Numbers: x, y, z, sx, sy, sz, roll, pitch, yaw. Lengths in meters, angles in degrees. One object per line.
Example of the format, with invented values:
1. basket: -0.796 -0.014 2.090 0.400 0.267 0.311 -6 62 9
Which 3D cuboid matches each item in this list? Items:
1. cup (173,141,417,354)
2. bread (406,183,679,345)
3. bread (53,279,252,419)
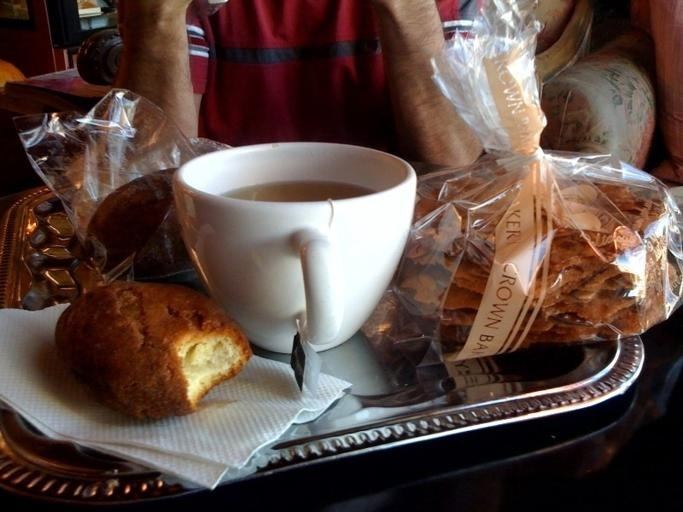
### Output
1. cup: -0.063 -0.008 0.614 0.228 0.159 0.249 3 27 -2
2. bread: 0.190 0.007 0.593 0.243 0.088 0.181 1 34 11
3. bread: -0.178 0.103 0.533 0.150 0.075 0.113 16 26 12
